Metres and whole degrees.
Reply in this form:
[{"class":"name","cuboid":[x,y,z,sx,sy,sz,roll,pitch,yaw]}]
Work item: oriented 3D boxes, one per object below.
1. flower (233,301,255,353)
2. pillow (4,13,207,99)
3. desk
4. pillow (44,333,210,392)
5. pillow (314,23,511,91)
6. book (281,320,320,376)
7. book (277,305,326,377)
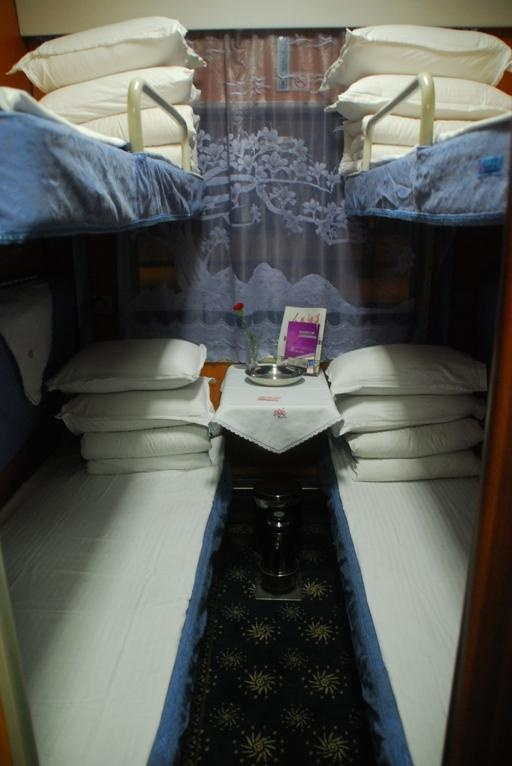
[{"class":"flower","cuboid":[-0.055,-0.255,2.572,0.105,0.293,0.202,-1,14,-2]},{"class":"pillow","cuboid":[-0.557,-1.265,2.009,0.414,0.121,0.417,-32,29,-34]},{"class":"desk","cuboid":[0.084,0.383,2.181,0.546,1.011,0.791,0,11,2]},{"class":"pillow","cuboid":[-0.624,-0.049,2.564,0.666,0.201,0.777,-1,3,-1]},{"class":"pillow","cuboid":[0.621,-1.241,1.965,0.477,0.156,0.496,4,39,3]},{"class":"book","cuboid":[0.228,-0.178,2.585,0.185,0.276,0.028,6,29,-1]},{"class":"book","cuboid":[0.216,-0.183,2.560,0.217,0.333,0.022,4,-22,10]}]
